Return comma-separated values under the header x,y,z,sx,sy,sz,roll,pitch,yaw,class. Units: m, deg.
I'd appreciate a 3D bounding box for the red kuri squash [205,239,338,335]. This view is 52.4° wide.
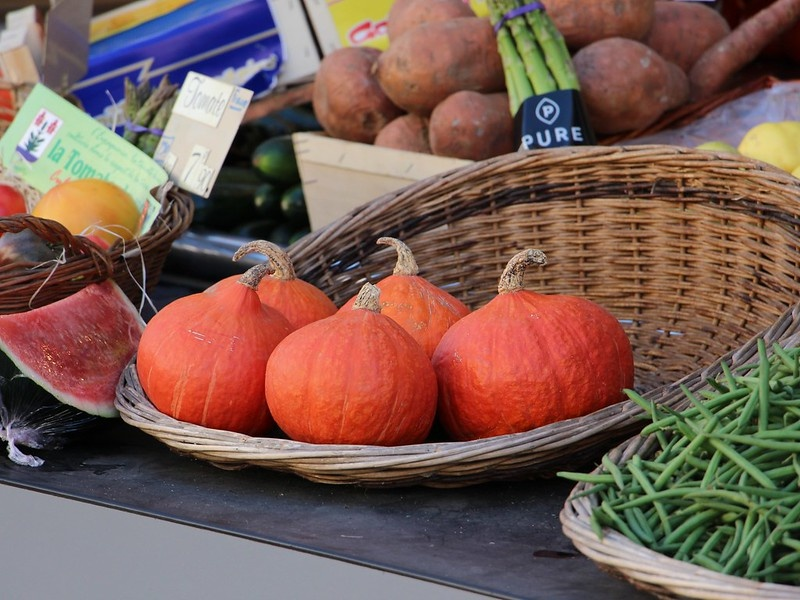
x,y,z,sx,sy,sz,roll,pitch,yaw,class
-0.158,-0.013,1.151,0.140,0.152,0.122,23,101,54,red kuri squash

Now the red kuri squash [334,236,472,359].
x,y,z,sx,sy,sz,roll,pitch,yaw,class
0.026,-0.005,1.139,0.198,0.169,0.144,3,91,8,red kuri squash

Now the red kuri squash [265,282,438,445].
x,y,z,sx,sy,sz,roll,pitch,yaw,class
-0.052,0.090,1.006,0.185,0.189,0.151,-4,83,47,red kuri squash

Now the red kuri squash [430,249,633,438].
x,y,z,sx,sy,sz,roll,pitch,yaw,class
0.144,0.072,1.073,0.261,0.256,0.215,-9,100,43,red kuri squash

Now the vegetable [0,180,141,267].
x,y,z,sx,sy,sz,roll,pitch,yaw,class
-0.504,-0.118,1.318,0.208,0.095,0.148,-13,41,-9,vegetable

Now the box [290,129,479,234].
x,y,z,sx,sy,sz,roll,pitch,yaw,class
-0.038,-0.195,1.453,0.257,0.232,0.132,-19,94,1,box
